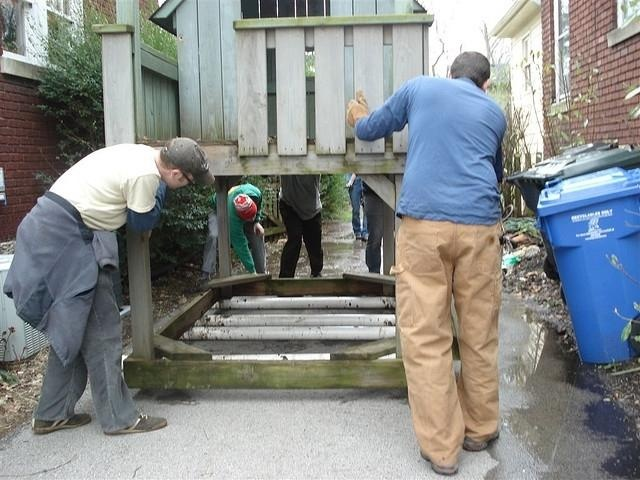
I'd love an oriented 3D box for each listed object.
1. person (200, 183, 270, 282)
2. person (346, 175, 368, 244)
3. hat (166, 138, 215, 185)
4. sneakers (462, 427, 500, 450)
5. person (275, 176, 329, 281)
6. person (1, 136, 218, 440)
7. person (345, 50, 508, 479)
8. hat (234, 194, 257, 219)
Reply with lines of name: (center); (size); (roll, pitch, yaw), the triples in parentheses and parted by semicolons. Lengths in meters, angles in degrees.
person: (-1.069, -0.099, 7.200); (0.635, 1.416, 0.826); (20, 26, 18)
person: (0.862, -0.672, 11.510); (0.375, 0.360, 1.601); (0, 56, 5)
hat: (-0.903, -0.584, 3.861); (0.356, 0.227, 0.285); (13, 27, -33)
sneakers: (1.046, 1.308, 3.555); (0.130, 0.079, 0.191); (-13, -11, -7)
person: (-0.266, -0.153, 7.284); (0.605, 1.453, 0.489); (-3, 9, -10)
person: (-1.539, 0.351, 3.788); (1.225, 2.048, 0.435); (-5, 10, -22)
person: (0.811, 0.089, 3.541); (0.799, 2.632, 0.819); (-1, 9, 3)
hat: (-0.964, -0.404, 6.848); (0.271, 0.333, 0.277); (-4, 10, -14)
